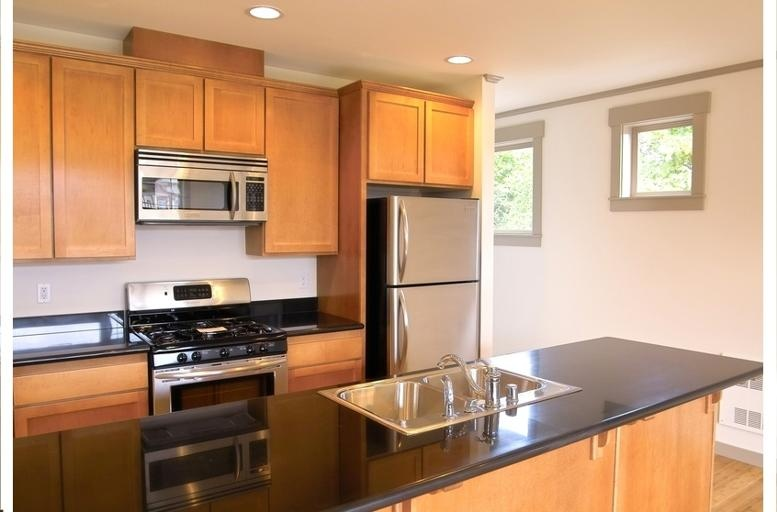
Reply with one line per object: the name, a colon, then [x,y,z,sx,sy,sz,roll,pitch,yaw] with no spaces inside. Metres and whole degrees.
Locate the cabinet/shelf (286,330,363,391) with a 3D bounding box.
cabinet/shelf: [-0.524,0.770,4.084,0.600,0.515,0.390,0,-1,-37]

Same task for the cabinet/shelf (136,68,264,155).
cabinet/shelf: [-1.204,-0.967,3.826,0.960,0.493,0.263,9,18,10]

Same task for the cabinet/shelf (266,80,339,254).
cabinet/shelf: [-0.640,-0.619,4.110,0.640,1.180,0.340,-5,16,-24]

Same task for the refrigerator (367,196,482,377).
refrigerator: [0.293,0.224,4.216,0.918,1.357,0.613,1,15,-5]

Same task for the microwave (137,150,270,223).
microwave: [-1.182,-0.441,3.897,0.979,0.458,0.430,3,3,11]

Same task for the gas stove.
gas stove: [-1.216,0.546,3.754,0.856,0.165,0.939,6,7,40]

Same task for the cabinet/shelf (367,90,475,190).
cabinet/shelf: [0.147,-0.909,4.490,1.207,0.694,0.382,-5,8,-44]

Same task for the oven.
oven: [-1.144,0.801,3.672,0.827,0.563,0.521,-1,4,-29]

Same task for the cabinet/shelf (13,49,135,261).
cabinet/shelf: [-1.886,-0.590,3.387,0.697,1.222,0.353,-4,16,-21]

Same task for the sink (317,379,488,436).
sink: [0.035,0.649,2.431,0.402,0.218,0.388,1,0,-33]

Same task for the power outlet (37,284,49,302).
power outlet: [-2.193,0.230,3.561,0.079,0.119,0.029,-6,17,-28]

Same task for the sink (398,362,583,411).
sink: [0.648,0.611,2.642,0.416,0.134,0.269,14,-12,-2]
